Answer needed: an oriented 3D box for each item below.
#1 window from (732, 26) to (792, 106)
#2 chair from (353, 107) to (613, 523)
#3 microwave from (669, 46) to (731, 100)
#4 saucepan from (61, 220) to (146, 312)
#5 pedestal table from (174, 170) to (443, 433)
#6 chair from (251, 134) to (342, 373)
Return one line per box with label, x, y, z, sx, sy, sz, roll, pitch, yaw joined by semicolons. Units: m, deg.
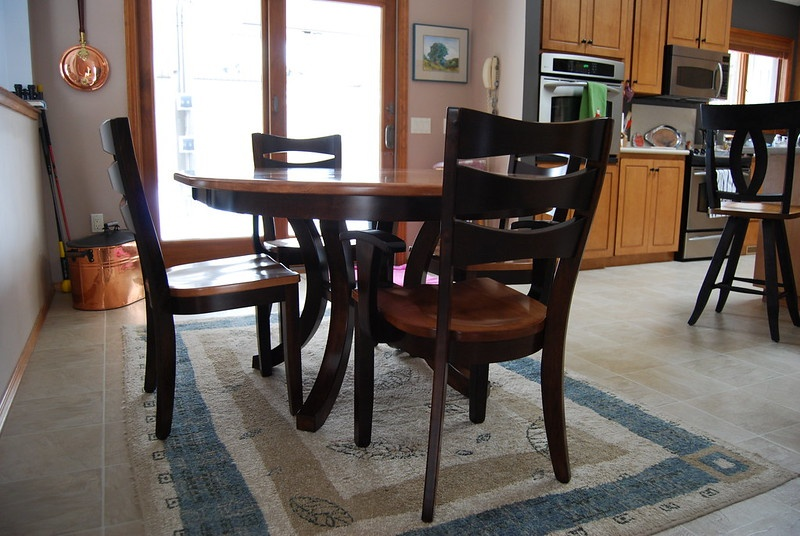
window;4.339;-2.433;7.190;1.090;0.770;0.219;-6;16;-25
chair;0.289;0.139;2.235;0.937;1.413;0.571;-1;14;-6
microwave;2.713;-1.804;5.635;0.729;0.442;0.453;-5;13;-24
saucepan;-1.962;-0.022;4.055;0.469;0.481;0.524;0;10;5
pedestal table;-0.317;0.097;2.530;1.172;0.785;1.134;-8;16;-29
chair;-0.496;-0.176;3.250;0.696;1.175;0.765;1;3;-12
